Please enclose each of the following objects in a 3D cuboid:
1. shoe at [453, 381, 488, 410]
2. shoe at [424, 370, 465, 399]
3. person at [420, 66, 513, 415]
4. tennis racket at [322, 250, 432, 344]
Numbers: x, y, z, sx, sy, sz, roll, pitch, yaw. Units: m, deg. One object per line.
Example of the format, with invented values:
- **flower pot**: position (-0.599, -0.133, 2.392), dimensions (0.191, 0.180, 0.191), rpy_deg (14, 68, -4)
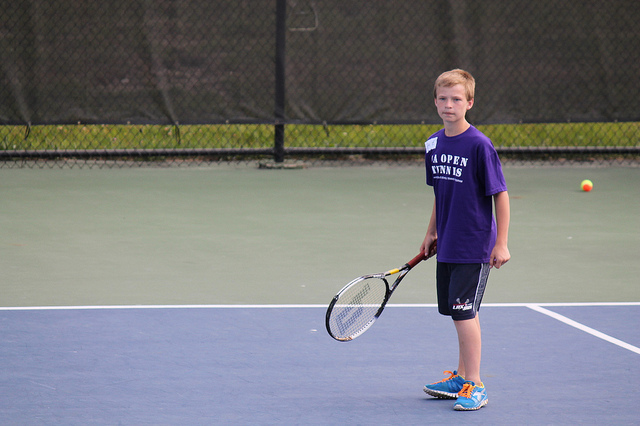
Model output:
- **shoe**: position (0.917, 1.072, 5.784), dimensions (0.119, 0.155, 0.326), rpy_deg (2, 4, 37)
- **shoe**: position (0.786, 1.038, 5.896), dimensions (0.309, 0.150, 0.124), rpy_deg (6, -5, -16)
- **person**: position (0.989, 0.196, 6.475), dimensions (0.559, 2.082, 1.570), rpy_deg (-1, -4, 10)
- **tennis racket**: position (0.335, 0.506, 6.070), dimensions (0.638, 0.555, 0.354), rpy_deg (1, -4, -8)
